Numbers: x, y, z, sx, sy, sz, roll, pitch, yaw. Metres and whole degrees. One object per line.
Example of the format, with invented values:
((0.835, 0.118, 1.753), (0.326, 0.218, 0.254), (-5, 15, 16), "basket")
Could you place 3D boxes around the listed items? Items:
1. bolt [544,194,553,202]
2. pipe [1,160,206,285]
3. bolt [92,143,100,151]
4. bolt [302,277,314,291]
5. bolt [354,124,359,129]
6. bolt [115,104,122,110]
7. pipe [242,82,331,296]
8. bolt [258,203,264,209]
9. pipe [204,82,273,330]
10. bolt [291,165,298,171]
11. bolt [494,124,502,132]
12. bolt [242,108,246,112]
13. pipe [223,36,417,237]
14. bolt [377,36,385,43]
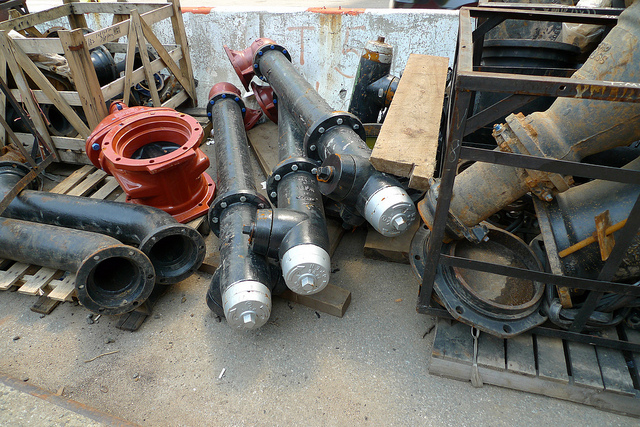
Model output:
((1.664, -0.114, 3.221), (0.040, 0.041, 0.046), (-4, 17, 13), "bolt")
((-1.892, 0.067, 3.915), (2.295, 0.631, 0.776), (18, 24, 23), "pipe")
((-2.097, -0.625, 4.144), (0.048, 0.050, 0.049), (-8, 5, 1), "bolt")
((-0.095, 0.549, 3.415), (0.078, 0.114, 0.043), (-2, 43, 0), "bolt")
((0.332, -0.796, 4.050), (0.033, 0.035, 0.033), (11, 45, 26), "bolt")
((-2.064, -1.095, 4.547), (0.046, 0.041, 0.053), (-10, 45, -8), "bolt")
((-0.375, -0.300, 4.066), (0.443, 0.506, 2.136), (17, 34, -28), "pipe")
((-0.516, -0.065, 3.903), (0.042, 0.044, 0.014), (8, 14, -11), "bolt")
((-0.895, -0.246, 4.202), (0.539, 0.566, 2.707), (-9, 54, -13), "pipe")
((-0.230, -0.417, 3.990), (0.070, 0.073, 0.017), (-1, 24, -1), "bolt")
((1.293, -0.624, 3.247), (0.048, 0.049, 0.054), (-34, 77, 7), "bolt")
((-0.897, -1.217, 5.173), (0.042, 0.043, 0.012), (-14, 2, -33), "bolt")
((-0.106, -0.820, 4.655), (0.959, 1.186, 3.252), (-23, 45, -10), "pipe")
((0.635, -1.805, 4.595), (0.064, 0.075, 0.065), (-3, -6, 6), "bolt")
